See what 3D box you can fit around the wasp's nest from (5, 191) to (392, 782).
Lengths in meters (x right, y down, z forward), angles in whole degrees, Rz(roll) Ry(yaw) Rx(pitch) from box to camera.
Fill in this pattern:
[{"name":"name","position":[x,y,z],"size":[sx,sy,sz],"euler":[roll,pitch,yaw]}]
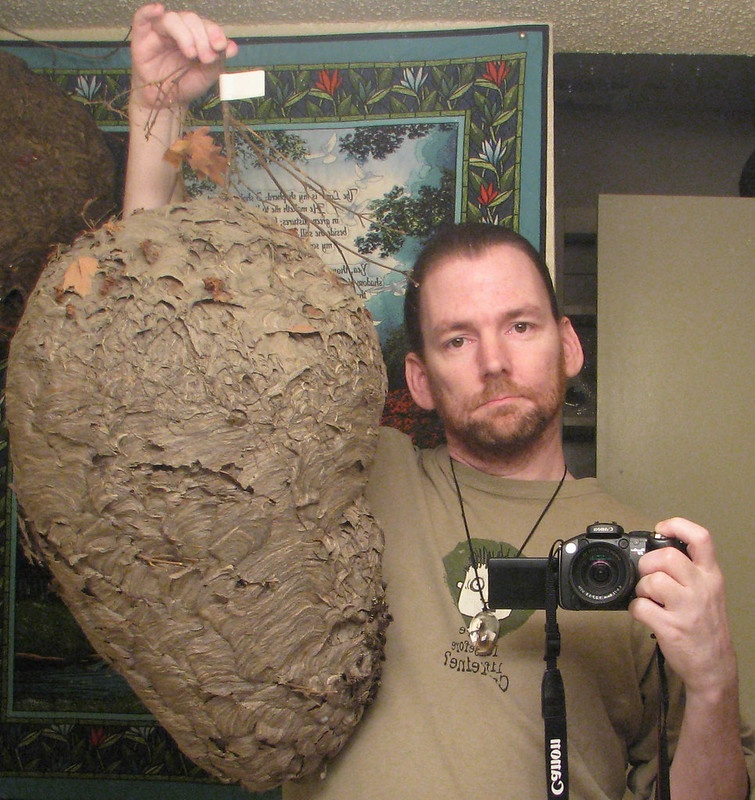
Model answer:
[{"name":"wasp's nest","position":[-0.231,0.174,1.704],"size":[0.810,0.812,0.451],"euler":[-4,-6,3]}]

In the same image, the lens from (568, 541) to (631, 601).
[{"name":"lens","position":[0.363,0.284,1.539],"size":[0.101,0.097,0.062],"euler":[-5,30,8]}]
